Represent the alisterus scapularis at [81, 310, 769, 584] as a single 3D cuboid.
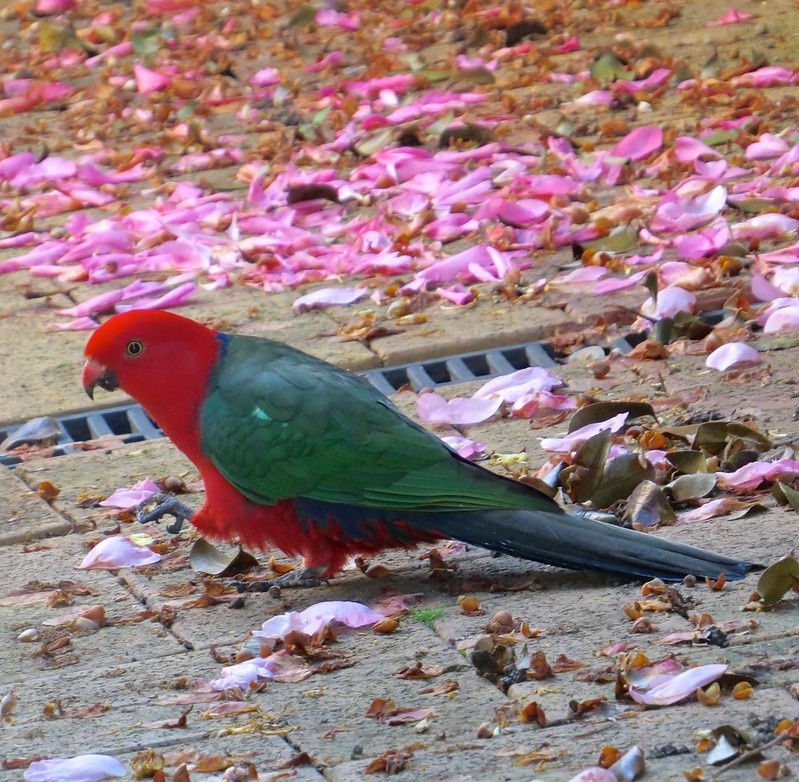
[{"bbox_3d":[-0.133,0.129,3.015,1.291,0.636,0.410,4,29,45],"label":"alisterus scapularis"}]
